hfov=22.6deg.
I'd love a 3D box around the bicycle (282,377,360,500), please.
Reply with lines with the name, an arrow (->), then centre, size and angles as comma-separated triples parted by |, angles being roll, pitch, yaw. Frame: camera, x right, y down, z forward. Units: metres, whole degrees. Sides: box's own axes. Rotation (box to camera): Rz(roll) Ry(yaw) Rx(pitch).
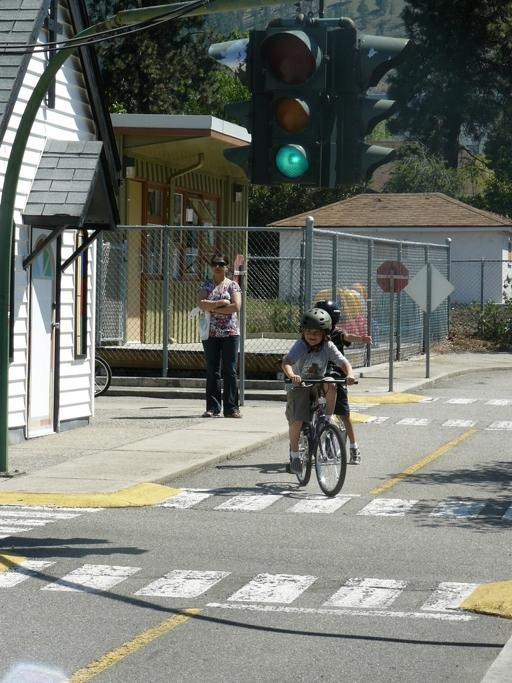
bicycle -> 0.545, 0.870, 10.080 | 0.398, 0.586, 0.967 | 0, -3, -9

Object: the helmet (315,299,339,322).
helmet -> 0.652, -0.269, 11.454 | 0.219, 0.229, 0.166 | -5, 9, -36

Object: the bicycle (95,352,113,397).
bicycle -> -2.201, 0.524, 18.306 | 0.208, 0.575, 0.748 | -1, 1, -9

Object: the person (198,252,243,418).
person -> -0.413, -0.038, 15.146 | 0.510, 1.911, 0.820 | -1, 1, -2

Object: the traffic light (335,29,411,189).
traffic light -> 0.651, -1.344, 7.263 | 0.408, 0.906, 0.868 | -1, 1, 4

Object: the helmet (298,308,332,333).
helmet -> 0.491, -0.161, 10.258 | 0.233, 0.197, 0.343 | -1, 1, 1

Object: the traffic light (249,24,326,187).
traffic light -> 0.183, -1.324, 7.266 | 0.435, 0.835, 0.707 | -1, 1, 0
